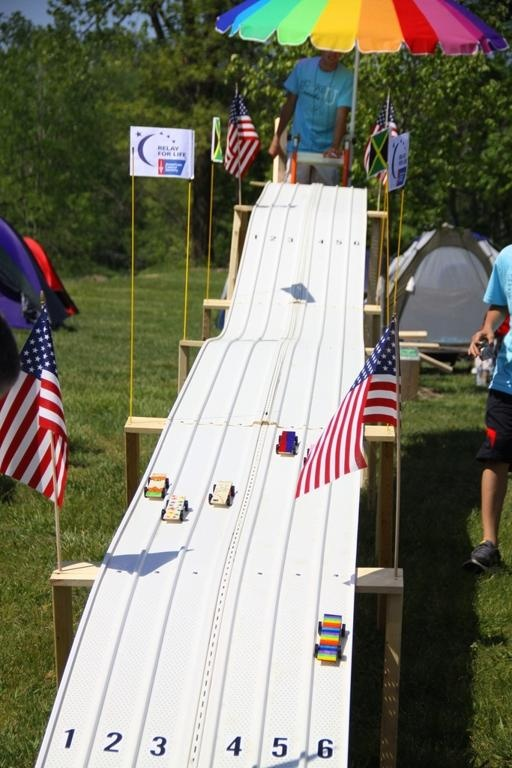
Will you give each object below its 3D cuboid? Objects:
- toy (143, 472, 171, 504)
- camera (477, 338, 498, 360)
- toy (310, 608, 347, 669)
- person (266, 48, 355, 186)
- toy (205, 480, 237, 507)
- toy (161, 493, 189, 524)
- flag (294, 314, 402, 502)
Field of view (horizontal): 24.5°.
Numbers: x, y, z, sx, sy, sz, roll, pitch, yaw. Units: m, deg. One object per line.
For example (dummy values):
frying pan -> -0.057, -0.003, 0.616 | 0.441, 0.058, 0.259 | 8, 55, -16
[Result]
toy -> -0.556, 0.584, 6.559 | 0.138, 0.090, 0.149 | 0, 16, -2
camera -> 1.444, -0.203, 7.329 | 0.081, 0.170, 0.154 | -1, 2, 13
toy -> 0.359, 1.229, 5.682 | 0.104, 0.065, 0.231 | 2, 49, 11
person -> 0.523, -2.365, 10.315 | 0.534, 1.458, 0.574 | 6, 20, 15
toy -> -0.188, 0.618, 6.489 | 0.141, 0.083, 0.162 | 1, 16, 2
toy -> -0.441, 0.689, 6.398 | 0.144, 0.092, 0.179 | 1, 16, 0
flag -> 0.455, 0.123, 5.842 | 0.499, 0.914, 0.407 | 2, 14, 7
